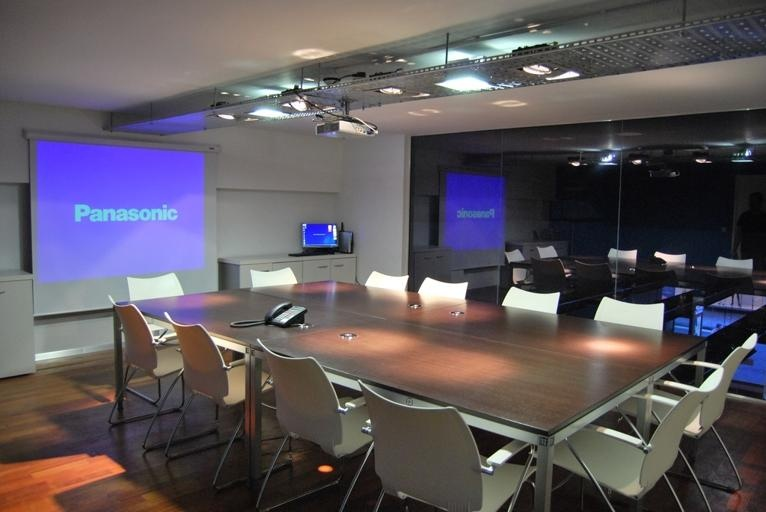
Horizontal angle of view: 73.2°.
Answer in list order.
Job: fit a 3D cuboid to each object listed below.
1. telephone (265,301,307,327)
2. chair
[{"bbox_3d":[-0.798,0.503,4.401,0.266,0.089,0.221,5,10,40],"label":"telephone"},{"bbox_3d":[-0.008,1.066,4.618,4.487,1.116,2.447,10,15,36],"label":"chair"}]
